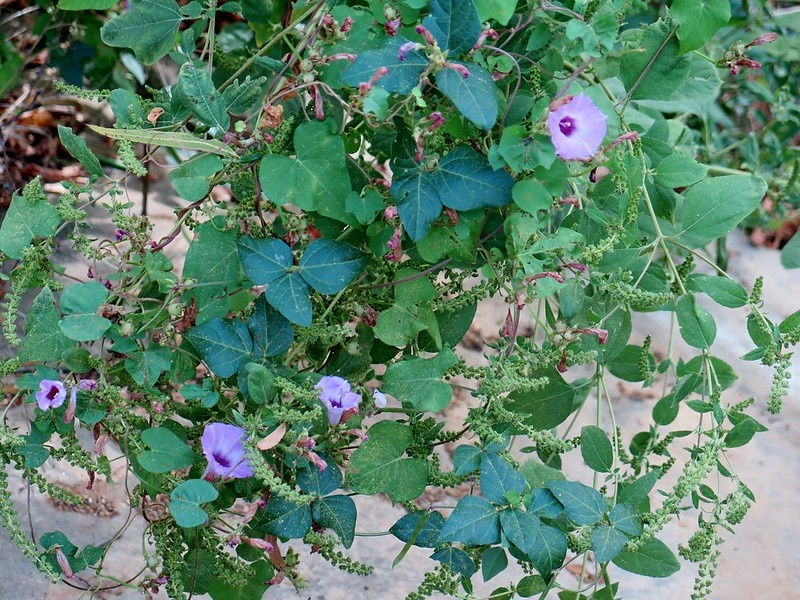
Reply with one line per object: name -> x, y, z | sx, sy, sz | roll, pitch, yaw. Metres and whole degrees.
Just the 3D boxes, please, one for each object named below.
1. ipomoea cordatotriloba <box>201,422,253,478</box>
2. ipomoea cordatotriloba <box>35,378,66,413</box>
ipomoea cordatotriloba -> -0.368, 0.320, 1.750 | 0.110, 0.080, 0.118 | 5, 34, -17
ipomoea cordatotriloba -> -0.717, 0.193, 1.764 | 0.057, 0.051, 0.049 | 17, 41, -13
